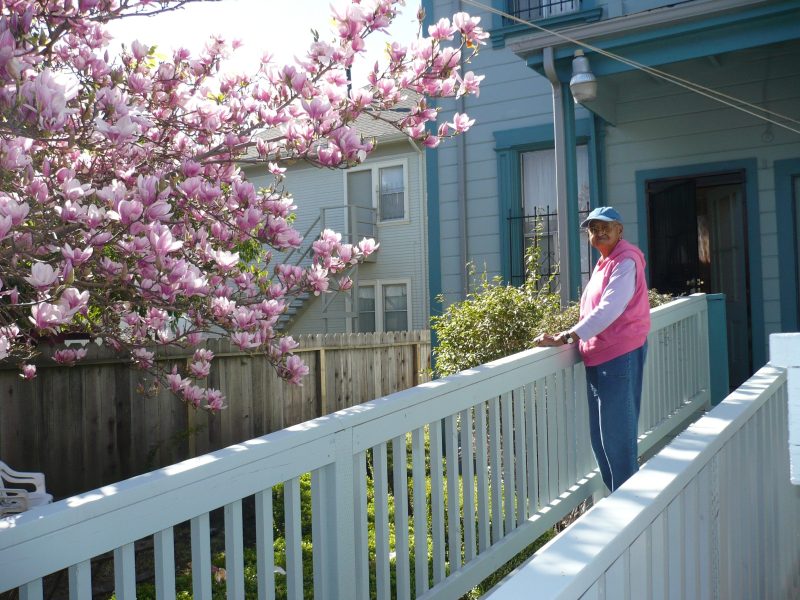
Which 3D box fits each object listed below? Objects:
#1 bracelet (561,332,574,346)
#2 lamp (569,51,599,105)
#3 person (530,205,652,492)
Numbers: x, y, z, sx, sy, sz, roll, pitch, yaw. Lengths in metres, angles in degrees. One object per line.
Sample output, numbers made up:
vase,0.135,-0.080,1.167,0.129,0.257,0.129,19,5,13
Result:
bracelet,1.040,0.238,5.592,0.059,0.082,0.078,29,-28,-36
lamp,1.756,-2.188,8.681,0.243,0.469,0.406,-1,3,11
person,1.284,0.332,5.705,0.575,1.847,0.500,-1,3,17
